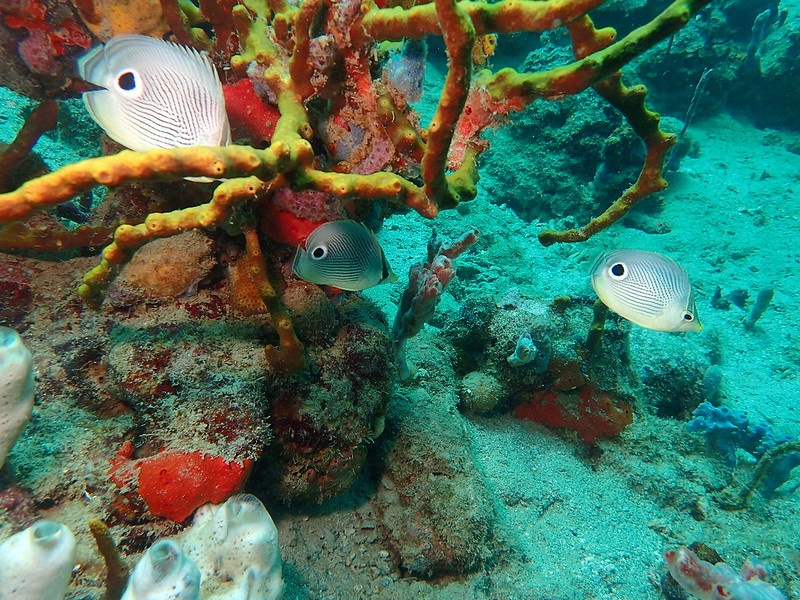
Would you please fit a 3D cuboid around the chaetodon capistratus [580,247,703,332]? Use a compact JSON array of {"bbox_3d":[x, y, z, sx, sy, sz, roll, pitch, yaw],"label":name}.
[{"bbox_3d":[2.539,-0.071,7.728,1.212,0.861,0.267,29,5,3],"label":"chaetodon capistratus"}]
